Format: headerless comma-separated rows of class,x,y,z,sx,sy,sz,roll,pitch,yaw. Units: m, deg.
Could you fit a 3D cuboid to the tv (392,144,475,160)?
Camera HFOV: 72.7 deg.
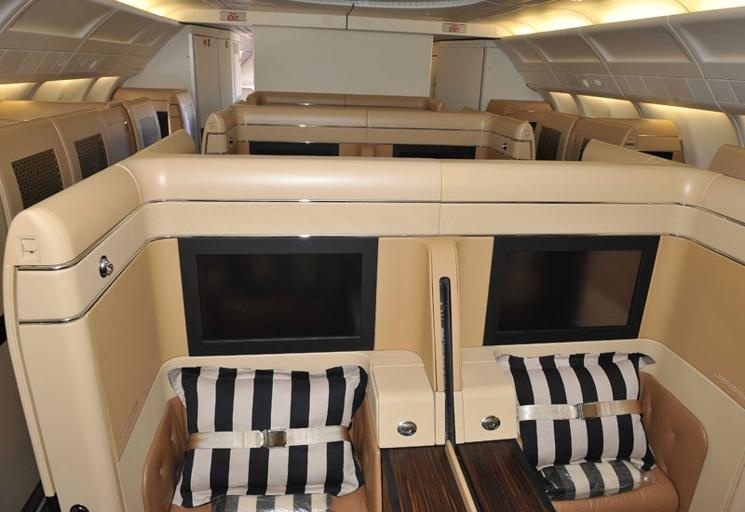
tv,0.487,-0.830,3.939,0.459,0.432,0.113,1,-80,5
